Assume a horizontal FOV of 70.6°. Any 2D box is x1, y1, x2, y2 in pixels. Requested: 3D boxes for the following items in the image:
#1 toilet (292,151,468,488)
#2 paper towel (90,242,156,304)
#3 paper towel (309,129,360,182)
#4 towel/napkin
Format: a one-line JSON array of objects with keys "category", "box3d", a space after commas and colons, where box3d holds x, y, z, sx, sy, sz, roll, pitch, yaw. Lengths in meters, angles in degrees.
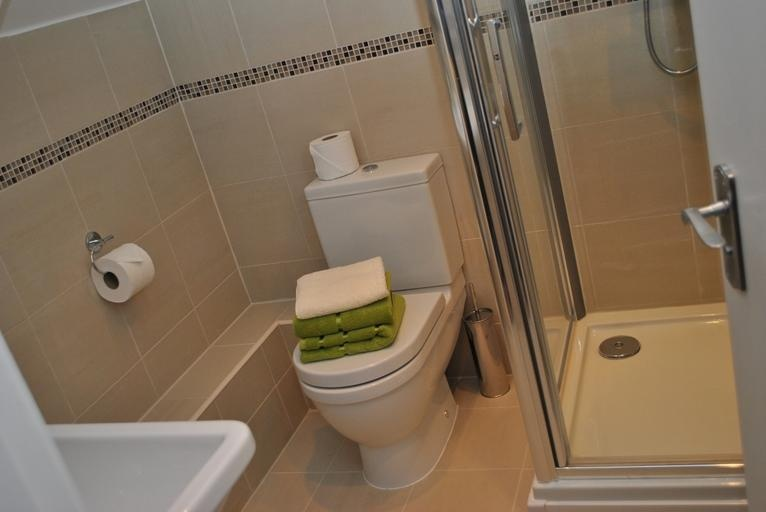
[{"category": "toilet", "box3d": [-0.002, 0.291, 2.077, 0.516, 1.076, 0.981, -7, 18, 15]}, {"category": "paper towel", "box3d": [-0.969, 0.081, 2.029, 0.143, 0.159, 0.176, 8, 8, 14]}, {"category": "paper towel", "box3d": [-0.196, -0.401, 2.299, 0.193, 0.179, 0.198, -14, 29, 6]}, {"category": "towel/napkin", "box3d": [-0.129, 0.187, 1.965, 0.384, 0.233, 0.291, -12, 22, 10]}]
